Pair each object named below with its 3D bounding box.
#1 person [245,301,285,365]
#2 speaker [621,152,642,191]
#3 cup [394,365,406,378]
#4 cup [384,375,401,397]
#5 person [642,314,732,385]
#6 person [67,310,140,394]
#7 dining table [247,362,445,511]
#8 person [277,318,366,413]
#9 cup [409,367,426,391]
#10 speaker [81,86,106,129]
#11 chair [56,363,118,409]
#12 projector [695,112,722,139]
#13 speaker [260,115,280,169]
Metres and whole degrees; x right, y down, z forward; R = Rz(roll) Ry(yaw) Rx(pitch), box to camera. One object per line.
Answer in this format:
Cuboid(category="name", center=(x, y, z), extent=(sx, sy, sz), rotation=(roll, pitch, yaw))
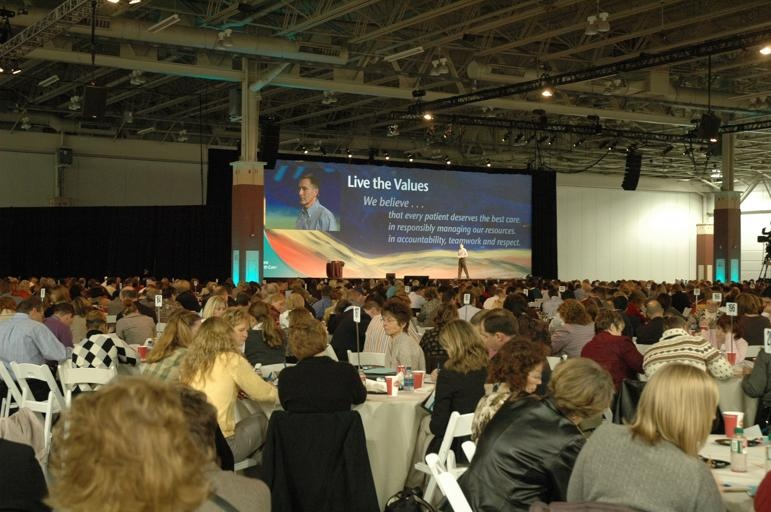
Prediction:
Cuboid(category="person", center=(-1.384, 0.906, 7.264), extent=(0.432, 0.894, 0.548), rotation=(-3, 29, -15))
Cuboid(category="speaker", center=(8.755, -2.785, 22.738), extent=(0.813, 1.758, 0.406), rotation=(2, -40, 16))
Cuboid(category="cup", center=(0.159, 1.147, 6.350), extent=(0.079, 0.081, 0.077), rotation=(1, -3, 0))
Cuboid(category="cup", center=(0.096, 1.225, 5.922), extent=(0.170, 0.154, 0.168), rotation=(0, -6, 0))
Cuboid(category="person", center=(2.642, 0.891, 5.760), extent=(0.831, 0.596, 0.446), rotation=(-5, -3, 32))
Cuboid(category="person", center=(-3.301, 1.118, 7.178), extent=(0.874, 0.928, 0.496), rotation=(-1, 3, 1))
Cuboid(category="dining table", center=(-0.252, 1.566, 5.755), extent=(0.982, 1.126, 1.131), rotation=(-1, 1, 20))
Cuboid(category="person", center=(-0.477, 0.893, 5.072), extent=(0.897, 0.906, 0.604), rotation=(-2, 1, -1))
Cuboid(category="cup", center=(0.317, 1.202, 6.205), extent=(0.158, 0.153, 0.158), rotation=(1, -5, 0))
Cuboid(category="speaker", center=(-5.480, -2.870, 11.859), extent=(0.465, 0.739, 0.412), rotation=(-11, 35, -43))
Cuboid(category="chair", center=(-3.095, 1.291, 6.365), extent=(0.226, 0.295, 0.218), rotation=(-8, 42, -3))
Cuboid(category="projector", center=(8.812, -3.550, 17.339), extent=(0.544, 0.816, 0.926), rotation=(2, -3, 25))
Cuboid(category="speaker", center=(-3.645, -3.611, 20.030), extent=(0.507, 1.498, 0.747), rotation=(3, -2, -18))
